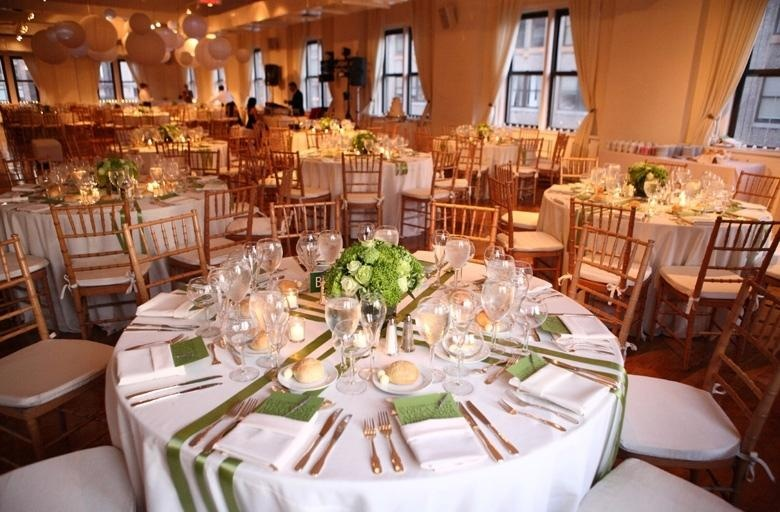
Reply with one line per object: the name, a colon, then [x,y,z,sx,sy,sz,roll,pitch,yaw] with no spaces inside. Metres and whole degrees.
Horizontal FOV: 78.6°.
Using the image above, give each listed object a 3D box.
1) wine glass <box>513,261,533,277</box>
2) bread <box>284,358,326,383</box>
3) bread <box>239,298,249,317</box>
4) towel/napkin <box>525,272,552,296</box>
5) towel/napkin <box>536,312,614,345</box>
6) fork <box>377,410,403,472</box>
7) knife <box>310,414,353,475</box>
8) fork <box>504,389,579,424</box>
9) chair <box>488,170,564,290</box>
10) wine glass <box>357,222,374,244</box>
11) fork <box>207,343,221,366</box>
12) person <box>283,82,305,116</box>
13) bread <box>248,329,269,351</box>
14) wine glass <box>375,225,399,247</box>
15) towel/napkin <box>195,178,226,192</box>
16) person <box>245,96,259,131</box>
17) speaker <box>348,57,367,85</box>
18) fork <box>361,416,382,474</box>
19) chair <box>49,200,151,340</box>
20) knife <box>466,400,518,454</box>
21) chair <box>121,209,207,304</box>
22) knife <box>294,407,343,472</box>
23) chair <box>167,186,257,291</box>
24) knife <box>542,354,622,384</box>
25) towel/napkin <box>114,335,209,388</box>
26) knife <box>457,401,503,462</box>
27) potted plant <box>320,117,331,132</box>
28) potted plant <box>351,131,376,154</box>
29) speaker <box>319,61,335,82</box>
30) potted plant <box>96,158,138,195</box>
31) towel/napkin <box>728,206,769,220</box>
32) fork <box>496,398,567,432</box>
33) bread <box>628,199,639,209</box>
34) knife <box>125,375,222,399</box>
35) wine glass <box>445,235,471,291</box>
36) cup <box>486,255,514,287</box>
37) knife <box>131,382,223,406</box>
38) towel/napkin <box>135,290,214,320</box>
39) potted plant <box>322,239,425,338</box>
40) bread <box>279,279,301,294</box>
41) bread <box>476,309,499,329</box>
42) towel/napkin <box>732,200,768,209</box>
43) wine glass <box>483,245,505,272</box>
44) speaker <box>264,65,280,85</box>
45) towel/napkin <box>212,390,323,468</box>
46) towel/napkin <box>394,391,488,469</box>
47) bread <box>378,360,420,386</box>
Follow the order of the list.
wine glass: [0.739,0.071,2.636,0.088,0.085,0.089,2,19,9]
bread: [-0.382,0.524,2.160,0.103,0.051,0.147,22,21,41]
bread: [-0.775,0.272,2.536,0.059,0.040,0.072,4,18,-2]
towel/napkin: [0.892,0.188,2.878,0.165,0.040,0.165,-5,22,-8]
towel/napkin: [1.007,0.378,2.476,0.179,0.029,0.193,-1,27,-8]
fork: [-0.006,0.752,1.936,0.049,0.041,0.289,5,39,-21]
knife: [-0.233,0.746,1.934,0.054,0.017,0.382,15,27,12]
fork: [0.664,0.660,2.065,0.269,0.039,0.046,16,70,16]
chair: [1.368,-0.179,4.874,0.700,1.126,0.692,2,17,6]
wine glass: [-0.143,-0.138,2.861,0.111,0.127,0.114,7,25,8]
fork: [-0.863,0.487,2.327,0.056,0.129,0.056,-17,-3,43]
person: [-2.852,-4.703,14.223,0.462,0.946,2.290,-5,19,-11]
bread: [-0.643,0.431,2.343,0.109,0.065,0.109,-15,51,3]
wine glass: [-0.032,-0.116,2.827,0.126,0.124,0.128,12,20,31]
towel/napkin: [-1.921,-0.747,5.064,0.264,0.080,0.266,3,14,-3]
person: [-3.841,-3.934,13.162,0.289,0.783,1.413,-7,19,-16]
speaker: [-0.875,-4.898,12.625,0.504,0.734,0.307,16,25,41]
fork: [-0.068,0.751,1.917,0.041,0.026,0.236,1,41,-13]
chair: [-2.422,0.138,4.080,0.742,1.137,0.724,-8,13,-24]
knife: [0.412,0.703,2.041,0.067,0.036,0.480,-20,19,-7]
chair: [-1.805,0.009,3.752,0.478,0.808,0.499,-16,46,-30]
knife: [-0.296,0.753,1.945,0.039,0.396,0.021,29,21,-11]
chair: [-1.503,-0.145,3.923,0.573,0.963,0.536,38,42,27]
knife: [0.903,0.541,2.242,0.238,0.026,0.042,15,28,32]
towel/napkin: [-1.087,0.501,2.264,0.311,0.045,0.197,-8,36,-26]
knife: [0.364,0.722,1.999,0.036,0.025,0.305,-30,39,-11]
potted plant: [-1.182,-2.312,8.463,0.222,0.227,0.224,5,43,3]
potted plant: [-0.329,-1.550,6.524,0.312,0.318,0.312,9,30,15]
speaker: [-1.831,-5.375,13.817,0.456,0.568,0.329,-2,19,-2]
potted plant: [-2.541,-0.760,4.706,0.408,0.313,0.394,-3,3,31]
towel/napkin: [3.263,-0.372,4.299,0.235,0.034,0.252,-12,23,-27]
fork: [0.610,0.689,2.038,0.228,0.033,0.039,18,48,21]
bread: [2.247,-0.475,4.404,0.131,0.064,0.174,6,23,24]
knife: [-0.991,0.597,2.150,0.531,0.024,0.074,-2,41,-23]
wine glass: [0.386,0.040,2.750,0.163,0.262,0.162,1,6,8]
cup: [0.630,0.075,2.672,0.152,0.172,0.156,-1,14,0]
knife: [-0.950,0.621,2.118,0.404,0.020,0.059,-4,52,-19]
towel/napkin: [-1.207,0.284,2.638,0.232,0.050,0.234,4,17,1]
potted plant: [-0.094,0.125,2.461,0.421,0.388,0.433,5,30,8]
bread: [-0.571,0.168,2.729,0.078,0.058,0.078,15,22,38]
bread: [0.501,0.321,2.461,0.081,0.058,0.101,7,9,-5]
towel/napkin: [3.852,-0.546,5.103,0.269,0.039,0.255,7,19,30]
wine glass: [0.636,0.026,2.838,0.135,0.148,0.130,-3,19,-1]
speaker: [-3.906,-5.988,15.735,0.455,0.666,0.427,12,32,13]
towel/napkin: [-0.492,0.711,1.990,0.329,0.123,0.335,5,20,18]
towel/napkin: [0.196,0.722,1.973,0.302,0.131,0.336,-7,20,-17]
bread: [0.042,0.533,2.154,0.127,0.038,0.115,-3,8,-33]
